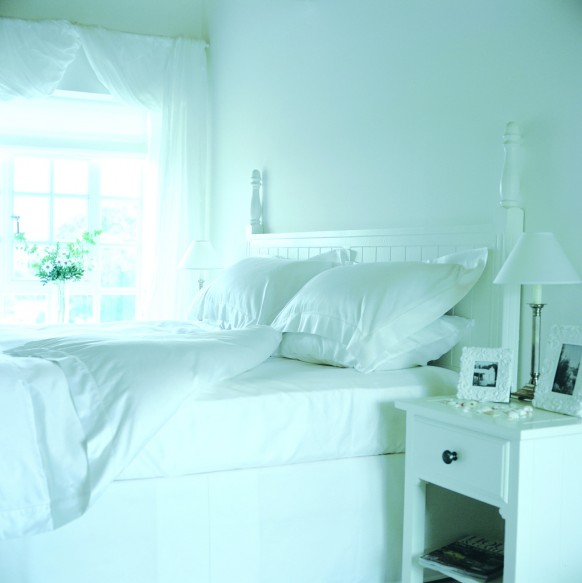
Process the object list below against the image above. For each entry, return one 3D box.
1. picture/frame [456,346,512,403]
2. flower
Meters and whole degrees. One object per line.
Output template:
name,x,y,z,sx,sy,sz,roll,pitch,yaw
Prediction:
picture/frame,0.558,0.240,1.780,0.142,0.178,0.016,-1,-35,26
flower,-1.799,-0.259,4.774,0.484,0.323,0.395,-4,-17,-28
